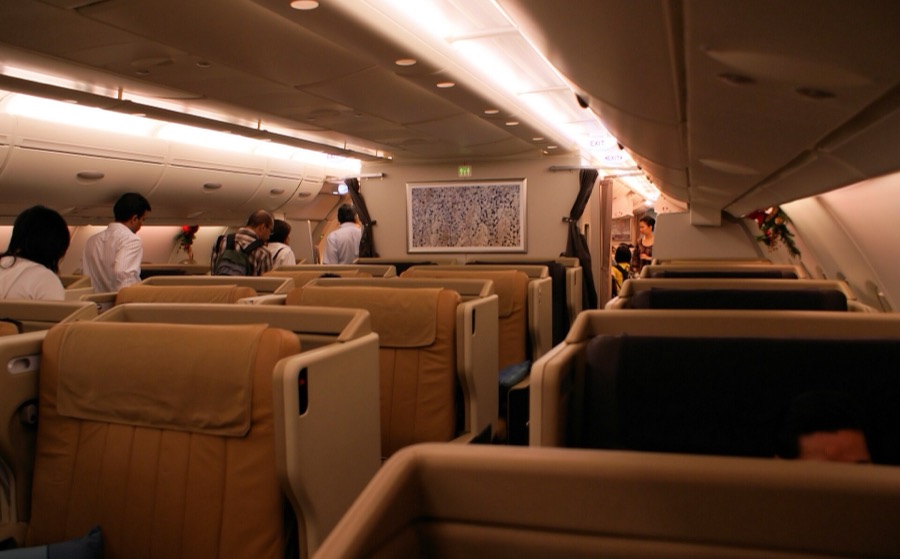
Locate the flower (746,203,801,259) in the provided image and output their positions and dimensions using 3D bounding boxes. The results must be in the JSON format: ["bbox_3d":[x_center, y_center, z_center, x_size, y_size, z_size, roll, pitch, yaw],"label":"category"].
[{"bbox_3d":[3.380,-0.580,6.021,0.365,0.159,0.466,-13,-41,45],"label":"flower"}]
